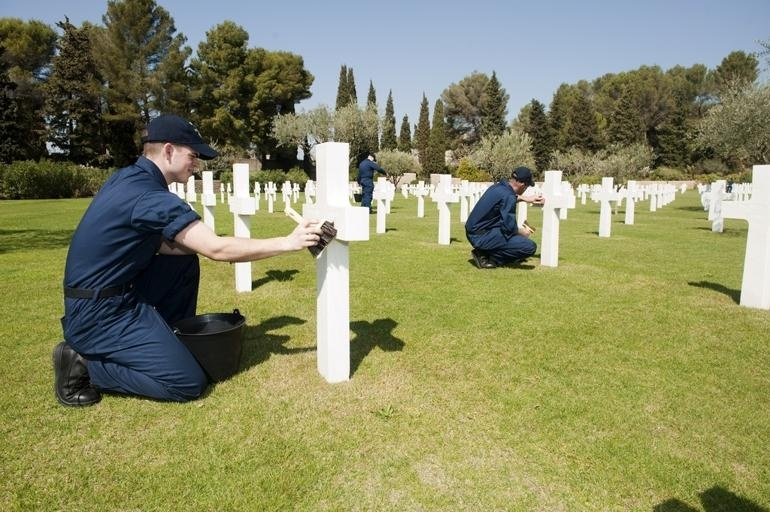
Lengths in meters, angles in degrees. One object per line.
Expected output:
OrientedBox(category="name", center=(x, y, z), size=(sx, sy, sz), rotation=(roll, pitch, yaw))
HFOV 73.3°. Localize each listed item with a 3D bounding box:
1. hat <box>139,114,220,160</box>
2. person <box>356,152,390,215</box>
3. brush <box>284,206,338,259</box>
OrientedBox(category="hat", center=(-1.959, -1.155, 5.066), size=(0.729, 0.383, 0.497), rotation=(0, -2, -13))
OrientedBox(category="person", center=(-0.475, -2.507, 17.368), size=(0.928, 1.827, 0.603), rotation=(10, 17, 23))
OrientedBox(category="brush", center=(-0.657, -0.172, 4.911), size=(0.383, 0.478, 0.627), rotation=(-3, 14, -16))
